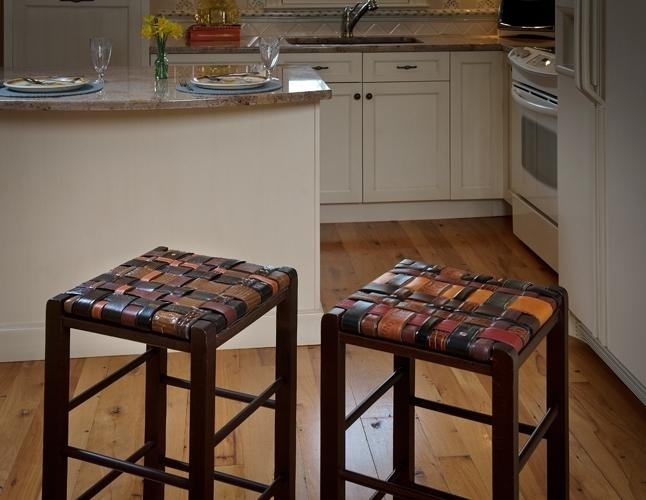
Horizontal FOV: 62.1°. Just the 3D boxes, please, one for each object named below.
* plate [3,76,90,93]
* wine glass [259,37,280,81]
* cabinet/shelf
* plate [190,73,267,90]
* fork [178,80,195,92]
[{"bbox_3d":[-1.114,-0.672,2.175,0.304,0.055,0.359,-13,22,-30],"label":"plate"},{"bbox_3d":[-0.214,-0.770,2.183,0.081,0.171,0.076,-5,19,-17],"label":"wine glass"},{"bbox_3d":[0.599,-0.954,4.360,2.059,1.325,1.168,-2,14,-5],"label":"cabinet/shelf"},{"bbox_3d":[-0.363,-0.701,2.227,0.262,0.056,0.301,17,26,42],"label":"plate"},{"bbox_3d":[-0.555,-0.669,2.186,0.062,0.030,0.092,-1,39,-11],"label":"fork"}]
